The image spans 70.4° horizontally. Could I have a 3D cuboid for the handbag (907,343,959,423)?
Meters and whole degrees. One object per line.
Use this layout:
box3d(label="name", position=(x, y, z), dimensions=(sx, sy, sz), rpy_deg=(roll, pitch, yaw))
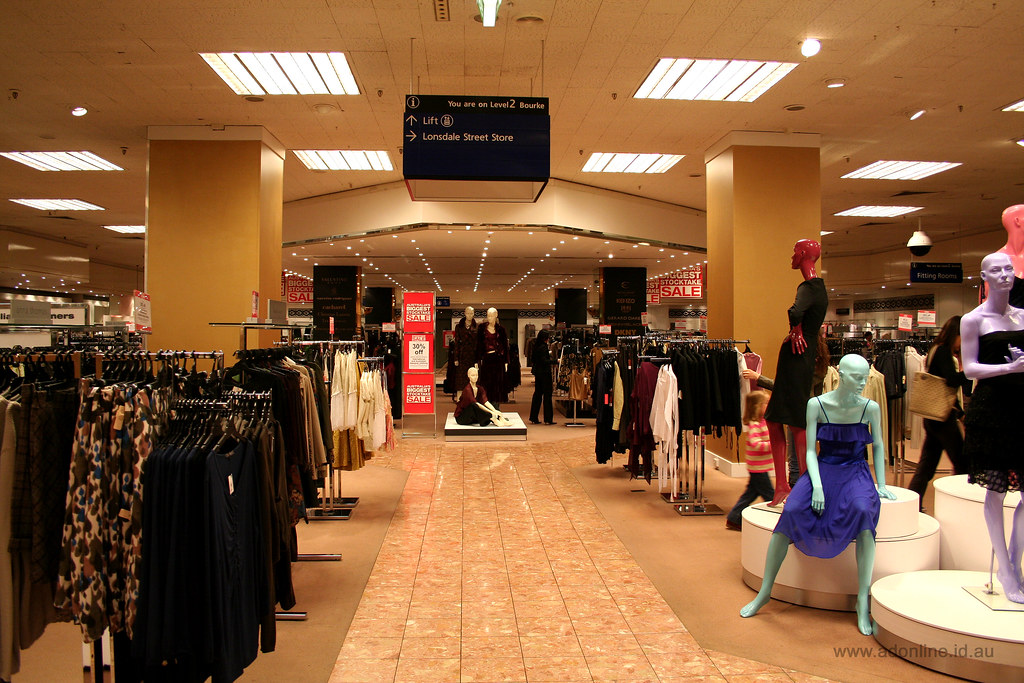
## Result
box3d(label="handbag", position=(4.600, 0.513, 7.855), dimensions=(0.417, 0.738, 0.556), rpy_deg=(-1, 8, -12))

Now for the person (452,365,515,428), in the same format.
box3d(label="person", position=(-0.562, 0.980, 13.474), dimensions=(0.901, 1.184, 1.338), rpy_deg=(-2, 6, -12))

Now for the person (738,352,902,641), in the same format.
box3d(label="person", position=(2.525, 1.174, 5.871), dimensions=(0.923, 2.146, 0.550), rpy_deg=(2, 6, 17))
